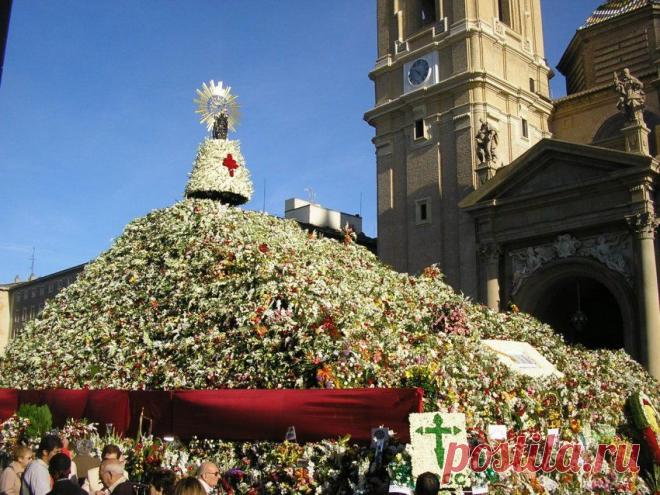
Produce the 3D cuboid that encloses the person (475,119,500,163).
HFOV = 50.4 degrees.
[{"bbox_3d":[6.184,-4.139,27.678,0.825,1.212,1.010,-8,4,13],"label":"person"}]

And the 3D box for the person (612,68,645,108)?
[{"bbox_3d":[10.475,-5.500,24.475,0.918,1.749,0.515,-12,-29,28],"label":"person"}]
